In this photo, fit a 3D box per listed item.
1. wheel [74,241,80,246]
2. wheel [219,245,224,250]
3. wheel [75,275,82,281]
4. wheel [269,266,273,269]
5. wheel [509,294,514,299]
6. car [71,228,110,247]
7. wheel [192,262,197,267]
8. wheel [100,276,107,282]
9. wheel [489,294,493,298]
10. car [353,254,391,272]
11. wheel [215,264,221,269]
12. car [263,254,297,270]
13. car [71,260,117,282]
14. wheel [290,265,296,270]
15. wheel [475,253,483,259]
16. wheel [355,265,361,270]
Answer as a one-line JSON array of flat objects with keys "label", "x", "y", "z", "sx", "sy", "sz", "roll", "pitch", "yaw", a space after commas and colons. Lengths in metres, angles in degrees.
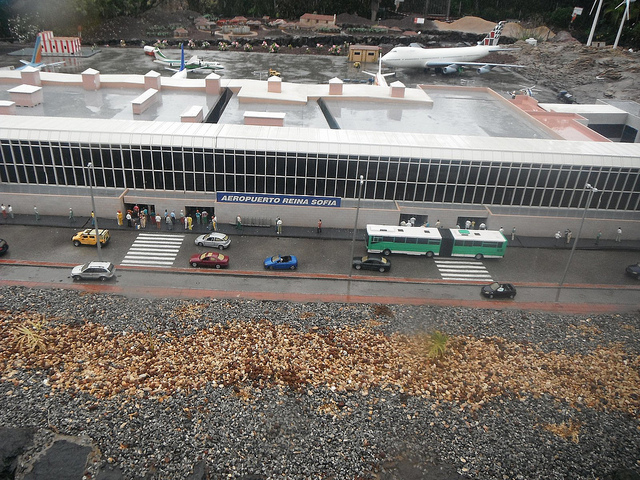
[{"label": "wheel", "x": -30.145, "y": 0.562, "z": 53.591, "sx": 0.830, "sy": 0.690, "sz": 0.143, "roll": 3, "pitch": 34, "yaw": 4}, {"label": "wheel", "x": -12.454, "y": 1.018, "z": 54.710, "sx": 0.616, "sy": 0.478, "sz": 0.166, "roll": 17, "pitch": 26, "yaw": -11}, {"label": "wheel", "x": -27.110, "y": 4.340, "z": 48.404, "sx": 0.908, "sy": 0.669, "sz": 0.263, "roll": 6, "pitch": 31, "yaw": -5}, {"label": "wheel", "x": -5.806, "y": 3.352, "z": 51.647, "sx": 0.489, "sy": 0.374, "sz": 0.125, "roll": 10, "pitch": 40, "yaw": -4}, {"label": "wheel", "x": 21.943, "y": 6.523, "z": 49.296, "sx": 0.656, "sy": 0.478, "sz": 0.176, "roll": 5, "pitch": 28, "yaw": 5}, {"label": "car", "x": -28.687, "y": -0.019, "z": 54.215, "sx": 3.993, "sy": 1.596, "sz": 2.217, "roll": 7, "pitch": 24, "yaw": -9}, {"label": "wheel", "x": -14.917, "y": 3.017, "z": 51.465, "sx": 0.581, "sy": 0.428, "sz": 0.174, "roll": -13, "pitch": 14, "yaw": 6}, {"label": "wheel", "x": -24.323, "y": 4.469, "z": 48.539, "sx": 0.792, "sy": 0.589, "sz": 0.278, "roll": 5, "pitch": 19, "yaw": 26}, {"label": "wheel", "x": 19.634, "y": 6.490, "z": 49.300, "sx": 0.617, "sy": 0.403, "sz": 0.138, "roll": -3, "pitch": 8, "yaw": 8}, {"label": "car", "x": 6.356, "y": 2.966, "z": 52.992, "sx": 4.777, "sy": 1.230, "sz": 1.754, "roll": 3, "pitch": 32, "yaw": 0}, {"label": "wheel", "x": -12.090, "y": 3.239, "z": 51.417, "sx": 0.573, "sy": 0.418, "sz": 0.167, "roll": 8, "pitch": 26, "yaw": 5}, {"label": "car", "x": -4.731, "y": 2.837, "z": 51.951, "sx": 3.317, "sy": 0.890, "sz": 1.880, "roll": 1, "pitch": 29, "yaw": -6}, {"label": "car", "x": -25.224, "y": 3.607, "z": 48.823, "sx": 4.731, "sy": 1.569, "sz": 2.035, "roll": 4, "pitch": 34, "yaw": -8}, {"label": "wheel", "x": -3.239, "y": 3.398, "z": 51.862, "sx": 0.707, "sy": 0.494, "sz": 0.193, "roll": 2, "pitch": 5, "yaw": -3}, {"label": "wheel", "x": 20.711, "y": 2.200, "z": 55.840, "sx": 0.881, "sy": 0.650, "sz": 0.273, "roll": -9, "pitch": 28, "yaw": 1}, {"label": "wheel", "x": 4.729, "y": 3.406, "z": 52.837, "sx": 0.617, "sy": 0.561, "sz": 0.200, "roll": 29, "pitch": 33, "yaw": -23}]
